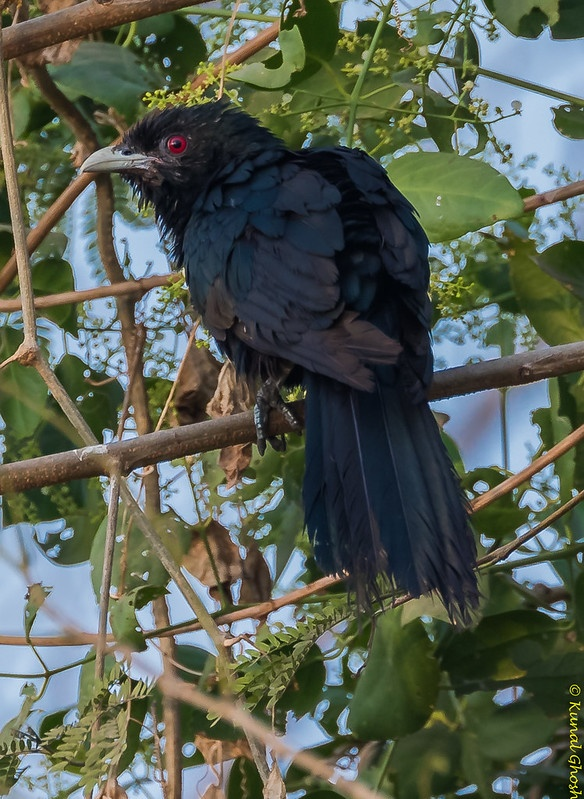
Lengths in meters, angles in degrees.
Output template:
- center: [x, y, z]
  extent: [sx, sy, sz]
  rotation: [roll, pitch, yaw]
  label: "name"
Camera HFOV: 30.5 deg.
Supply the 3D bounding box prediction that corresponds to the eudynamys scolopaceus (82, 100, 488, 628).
- center: [-0.014, -0.216, 3.079]
  extent: [0.843, 1.879, 0.490]
  rotation: [-20, -32, 17]
  label: "eudynamys scolopaceus"
